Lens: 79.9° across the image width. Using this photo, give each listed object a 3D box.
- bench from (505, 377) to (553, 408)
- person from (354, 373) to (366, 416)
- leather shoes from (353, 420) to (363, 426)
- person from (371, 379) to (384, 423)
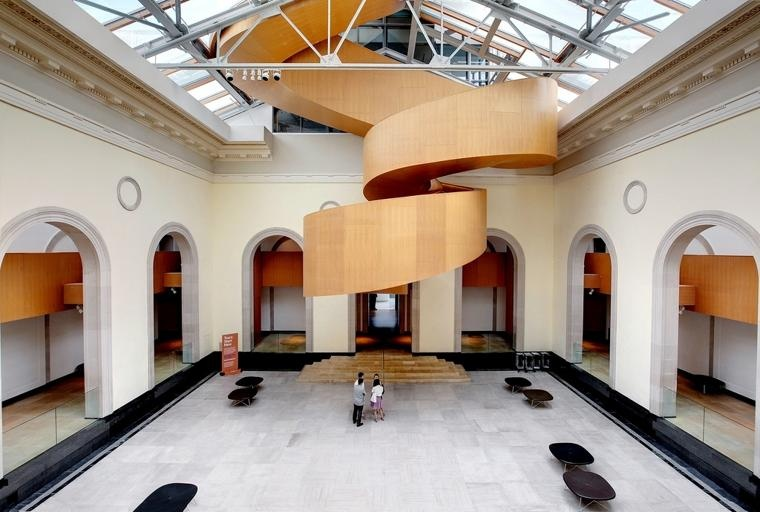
[{"bbox_3d":[4.023,3.705,12.286,0.960,0.547,1.518,0,-3,-9],"label":"bench"},{"bbox_3d":[-0.509,3.465,11.250,0.240,1.146,0.612,0,-3,-1],"label":"person"},{"bbox_3d":[-0.529,4.117,11.076,0.252,0.157,0.081,-3,7,-30],"label":"leather shoes"},{"bbox_3d":[-0.056,3.577,11.501,0.328,1.098,0.715,0,-3,0],"label":"person"}]
